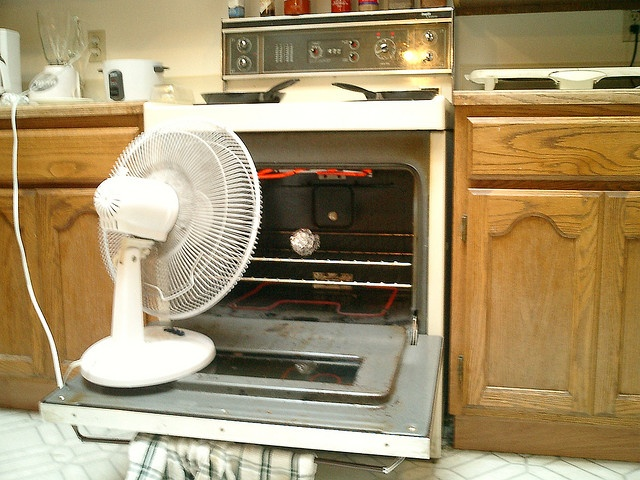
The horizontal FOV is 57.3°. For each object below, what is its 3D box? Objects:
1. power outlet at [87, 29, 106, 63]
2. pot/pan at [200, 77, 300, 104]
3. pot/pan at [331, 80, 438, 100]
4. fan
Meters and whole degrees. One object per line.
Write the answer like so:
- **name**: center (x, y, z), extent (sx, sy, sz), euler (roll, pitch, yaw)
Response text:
- **power outlet**: center (-0.997, -0.863, 2.618), extent (0.087, 0.136, 0.014), euler (-19, 40, -39)
- **pot/pan**: center (-0.220, -0.469, 1.951), extent (0.380, 0.100, 0.276), euler (1, 10, 9)
- **pot/pan**: center (0.191, -0.431, 1.710), extent (0.148, 0.046, 0.277), euler (-12, 19, -35)
- **fan**: center (-0.374, 0.022, 1.441), extent (0.463, 0.609, 0.310), euler (-2, 17, -2)
